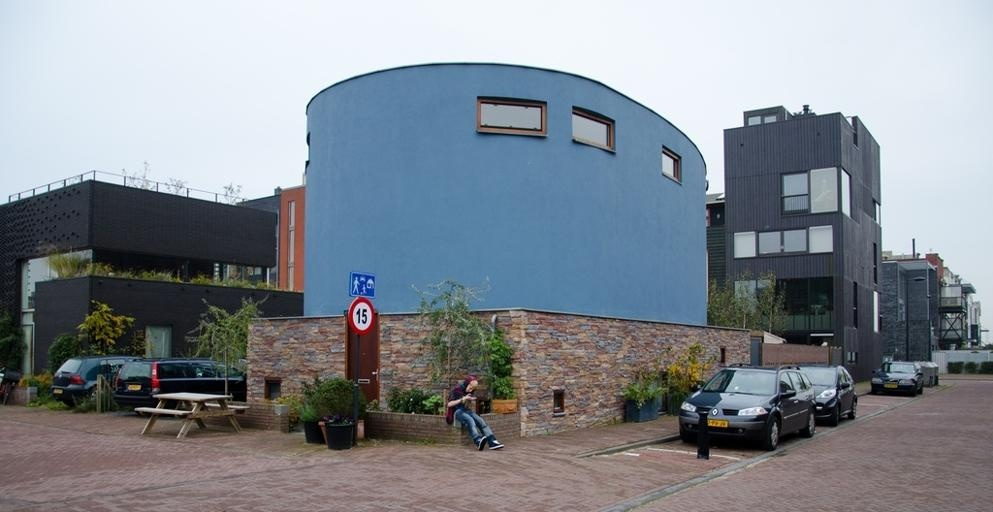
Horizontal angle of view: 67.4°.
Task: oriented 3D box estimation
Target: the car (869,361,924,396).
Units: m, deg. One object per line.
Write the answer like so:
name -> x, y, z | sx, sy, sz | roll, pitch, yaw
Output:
car -> 24.904, 7.562, 46.419 | 3.152, 2.073, 1.943 | -4, -11, 11

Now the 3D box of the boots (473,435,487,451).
boots -> -0.599, 7.053, 28.159 | 0.263, 0.333, 0.753 | 10, -45, -21

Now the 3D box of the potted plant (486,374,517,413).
potted plant -> 0.223, 5.539, 29.943 | 1.571, 1.666, 1.286 | 1, -14, -7

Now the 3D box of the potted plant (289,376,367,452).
potted plant -> -6.873, 6.168, 29.429 | 2.884, 2.899, 2.562 | -2, -20, 2

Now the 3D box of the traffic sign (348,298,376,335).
traffic sign -> -5.239, 2.349, 28.844 | 0.239, 1.629, 1.700 | -2, -3, 37

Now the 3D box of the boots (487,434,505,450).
boots -> 0.011, 7.063, 28.213 | 0.320, 0.408, 0.924 | 5, -10, -40

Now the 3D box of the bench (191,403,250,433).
bench -> -11.678, 6.325, 30.445 | 1.677, 0.791, 1.688 | -3, -4, 34

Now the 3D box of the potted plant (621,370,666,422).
potted plant -> 6.395, 6.131, 33.156 | 1.775, 2.348, 0.752 | 5, -12, -31
